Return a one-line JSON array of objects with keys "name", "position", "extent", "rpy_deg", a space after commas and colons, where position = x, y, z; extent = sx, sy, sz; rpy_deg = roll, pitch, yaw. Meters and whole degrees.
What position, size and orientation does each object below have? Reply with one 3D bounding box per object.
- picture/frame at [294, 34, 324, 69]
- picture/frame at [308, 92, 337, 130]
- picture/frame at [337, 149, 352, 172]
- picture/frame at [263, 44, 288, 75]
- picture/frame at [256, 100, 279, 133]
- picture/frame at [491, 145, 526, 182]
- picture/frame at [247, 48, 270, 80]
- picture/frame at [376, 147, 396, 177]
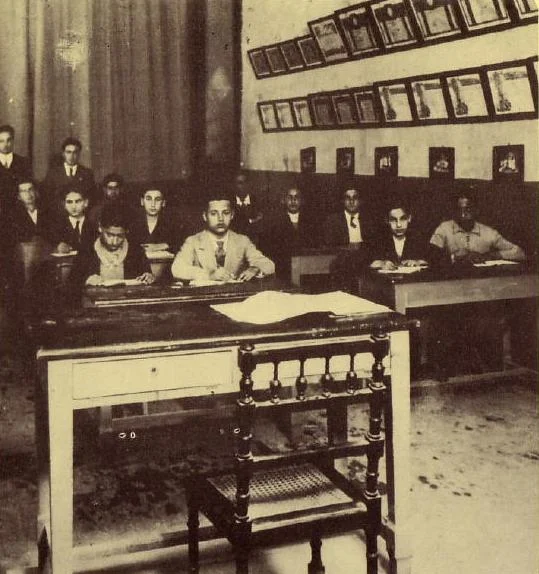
[{"name": "picture/frame", "position": [0.144, -0.861, 2.339], "extent": [0.080, 0.103, 0.027], "rpy_deg": [-4, 19, 14]}, {"name": "picture/frame", "position": [0.199, -0.659, 2.379], "extent": [0.088, 0.121, 0.024], "rpy_deg": [-9, 12, -15]}, {"name": "picture/frame", "position": [0.290, -0.489, 2.474], "extent": [0.071, 0.068, 0.026], "rpy_deg": [-4, 1, 12]}, {"name": "picture/frame", "position": [0.024, -0.823, 2.320], "extent": [0.075, 0.099, 0.020], "rpy_deg": [-17, 20, -24]}, {"name": "picture/frame", "position": [-0.011, -0.625, 2.333], "extent": [0.068, 0.125, 0.011], "rpy_deg": [-10, 9, -12]}, {"name": "picture/frame", "position": [0.874, -0.460, 2.353], "extent": [0.094, 0.148, 0.014], "rpy_deg": [0, 2, 6]}, {"name": "picture/frame", "position": [-0.041, -0.801, 2.259], "extent": [0.069, 0.144, 0.025], "rpy_deg": [-8, 3, 2]}, {"name": "picture/frame", "position": [0.441, -0.484, 2.449], "extent": [0.078, 0.130, 0.012], "rpy_deg": [2, 8, 15]}]
